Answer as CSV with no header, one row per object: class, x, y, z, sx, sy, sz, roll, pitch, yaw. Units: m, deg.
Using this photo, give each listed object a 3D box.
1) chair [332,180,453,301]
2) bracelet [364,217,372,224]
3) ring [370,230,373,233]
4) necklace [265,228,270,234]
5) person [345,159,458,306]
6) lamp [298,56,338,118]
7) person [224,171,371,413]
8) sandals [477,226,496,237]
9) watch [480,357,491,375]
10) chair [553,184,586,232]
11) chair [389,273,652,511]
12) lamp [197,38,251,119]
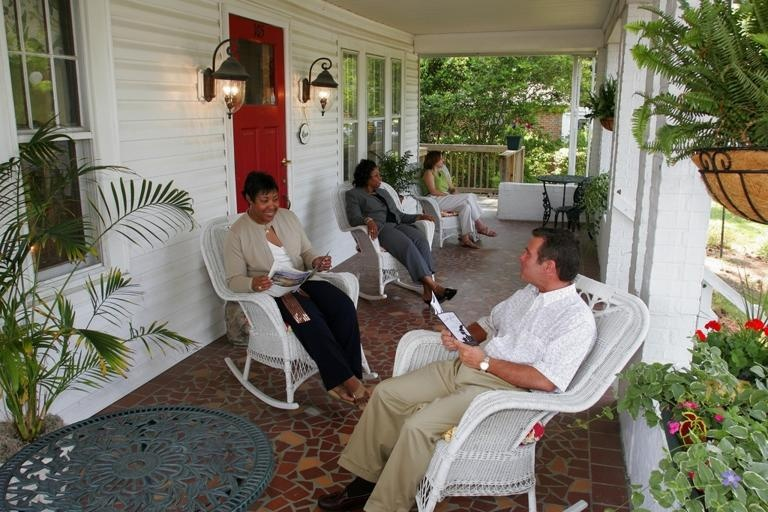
chair,0.089,-0.309,6.554,1.344,1.758,1.545,-8,13,-43
bracelet,-0.195,-0.433,5.650,0.075,0.034,0.074,-32,27,11
ring,-0.145,-0.299,5.575,0.035,0.034,0.009,0,4,-11
necklace,-0.976,-0.225,3.961,0.028,0.034,0.029,-4,4,-33
person,0.247,-0.313,5.767,0.956,1.237,1.935,-11,31,-34
lamp,-0.817,-2.253,6.239,0.381,0.654,0.419,1,11,-32
person,-0.621,0.257,3.809,1.389,1.733,0.798,20,32,35
sandals,1.786,-0.440,8.303,0.287,0.208,0.097,8,61,10
watch,0.554,0.599,2.637,0.049,0.082,0.081,15,43,26
chair,3.434,-0.938,8.740,0.485,0.995,1.373,5,19,19
chair,0.598,0.705,2.921,1.519,1.238,1.236,-1,12,-5
lamp,-1.452,-1.712,4.543,0.490,0.710,0.648,2,18,8
